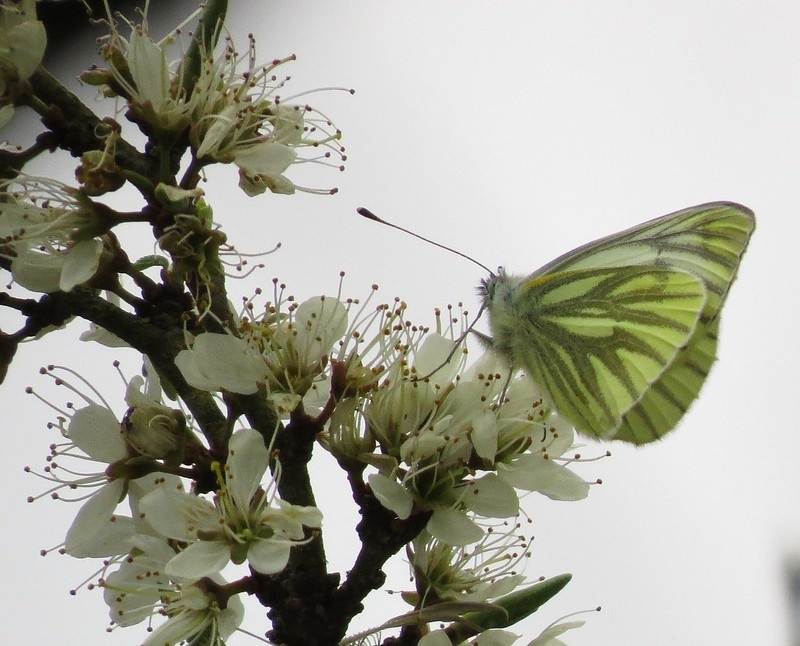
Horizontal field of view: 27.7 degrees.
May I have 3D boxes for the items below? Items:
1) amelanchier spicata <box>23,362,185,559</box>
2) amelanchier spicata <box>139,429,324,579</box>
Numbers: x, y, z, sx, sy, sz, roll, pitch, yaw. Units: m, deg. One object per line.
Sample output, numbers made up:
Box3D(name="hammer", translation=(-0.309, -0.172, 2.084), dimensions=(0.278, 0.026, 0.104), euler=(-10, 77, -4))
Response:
Box3D(name="amelanchier spicata", translation=(-1.068, 0.605, 6.405), dimensions=(0.653, 0.536, 0.705), euler=(26, -4, 8))
Box3D(name="amelanchier spicata", translation=(-0.644, 0.678, 6.026), dimensions=(0.598, 0.774, 0.360), euler=(-3, -21, 7))
